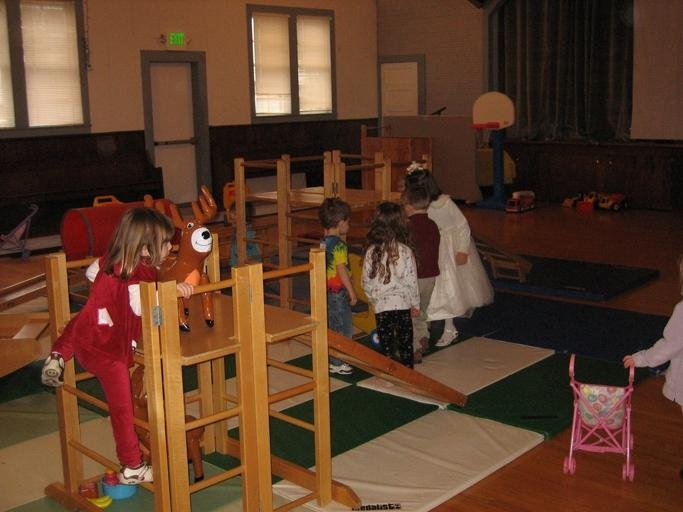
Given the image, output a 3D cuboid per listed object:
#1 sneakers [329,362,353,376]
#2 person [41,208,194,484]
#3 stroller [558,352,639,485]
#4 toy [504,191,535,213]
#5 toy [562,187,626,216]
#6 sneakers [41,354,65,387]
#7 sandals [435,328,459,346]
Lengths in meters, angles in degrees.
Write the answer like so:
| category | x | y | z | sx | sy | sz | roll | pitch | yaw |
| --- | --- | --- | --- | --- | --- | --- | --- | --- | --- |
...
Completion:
| category | x | y | z | sx | sy | sz | roll | pitch | yaw |
| --- | --- | --- | --- | --- | --- | --- | --- | --- | --- |
| sneakers | -0.021 | 0.861 | 4.394 | 0.123 | 0.045 | 0.086 | 2 | 7 | 22 |
| person | -1.000 | 0.474 | 2.615 | 0.690 | 1.350 | 0.479 | -4 | 11 | -5 |
| stroller | 1.442 | 0.829 | 3.223 | 0.354 | 0.644 | 0.560 | 2 | 12 | 25 |
| toy | 3.339 | -1.017 | 10.819 | 0.272 | 0.408 | 0.821 | 11 | 19 | 42 |
| toy | 4.657 | -1.012 | 10.737 | 1.044 | 0.315 | 0.584 | 6 | 14 | 39 |
| sneakers | -1.298 | 0.512 | 2.603 | 0.099 | 0.175 | 0.061 | -1 | -4 | -13 |
| sandals | 0.877 | 0.697 | 4.941 | 0.090 | 0.072 | 0.234 | 0 | 9 | 35 |
